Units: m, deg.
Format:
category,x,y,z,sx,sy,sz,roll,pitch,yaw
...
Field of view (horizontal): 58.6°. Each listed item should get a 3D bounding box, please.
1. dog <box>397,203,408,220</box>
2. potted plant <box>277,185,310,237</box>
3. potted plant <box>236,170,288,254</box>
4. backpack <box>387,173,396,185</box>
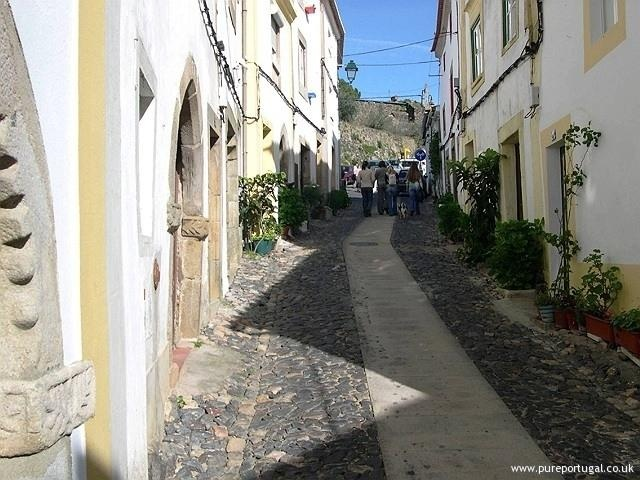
category,x,y,z,sx,sy,sz,roll,pitch,yaw
dog,2.441,-0.857,17.069,0.263,0.427,0.818,0,10,8
potted plant,-0.639,-0.639,12.789,0.833,1.316,0.994,0,7,9
potted plant,-1.086,-0.584,11.372,0.728,1.516,1.663,1,9,15
backpack,2.157,-1.847,17.269,0.287,0.514,0.268,1,17,11
